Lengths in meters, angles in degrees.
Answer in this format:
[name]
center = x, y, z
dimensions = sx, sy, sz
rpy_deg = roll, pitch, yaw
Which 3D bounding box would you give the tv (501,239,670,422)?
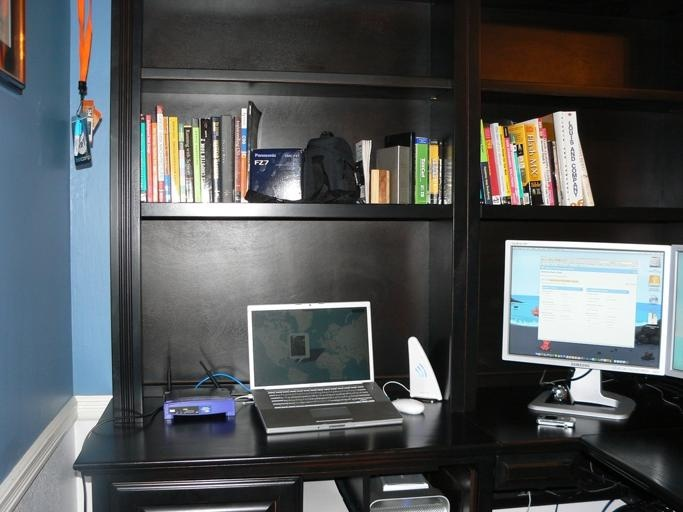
[tv]
center = 0.964, 0.287, 2.402
dimensions = 0.643, 0.749, 0.267
rpy_deg = 1, -3, 18

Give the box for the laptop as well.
[laptop]
center = -0.094, 0.432, 2.370
dimensions = 0.506, 0.315, 0.466
rpy_deg = -3, 20, -14

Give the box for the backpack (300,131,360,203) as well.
[backpack]
center = -0.051, -0.348, 2.367
dimensions = 0.203, 0.263, 0.107
rpy_deg = 2, 12, 6
